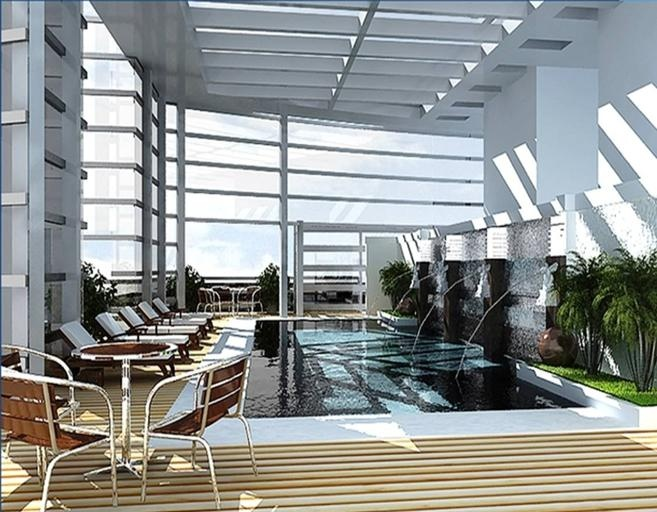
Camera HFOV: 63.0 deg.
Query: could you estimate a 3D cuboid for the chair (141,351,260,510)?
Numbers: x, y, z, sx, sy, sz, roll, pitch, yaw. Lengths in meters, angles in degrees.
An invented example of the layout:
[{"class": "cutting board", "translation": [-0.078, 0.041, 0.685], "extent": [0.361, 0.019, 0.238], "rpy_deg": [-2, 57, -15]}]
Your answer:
[{"class": "chair", "translation": [-1.120, 1.244, 4.753], "extent": [0.862, 1.732, 1.217], "rpy_deg": [1, -4, 14]}]
